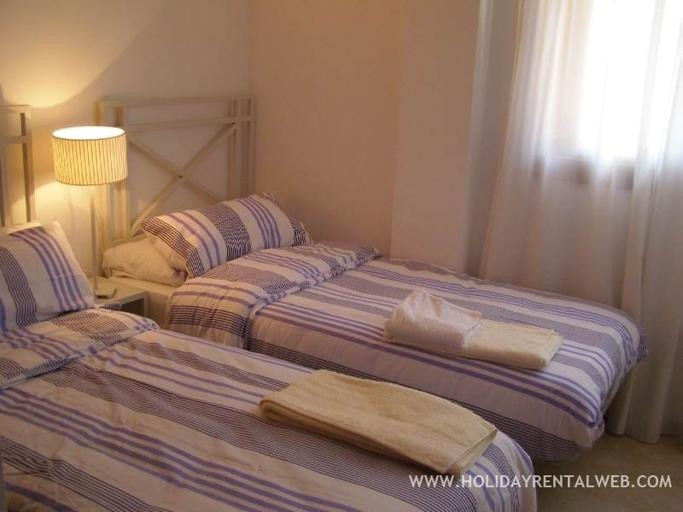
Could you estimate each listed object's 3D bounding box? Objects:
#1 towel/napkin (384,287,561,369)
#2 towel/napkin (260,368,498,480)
[{"bbox_3d":[0.612,0.367,2.273,0.530,0.150,0.386,8,18,24],"label":"towel/napkin"},{"bbox_3d":[0.129,0.553,1.710,0.521,0.078,0.343,11,22,25],"label":"towel/napkin"}]
